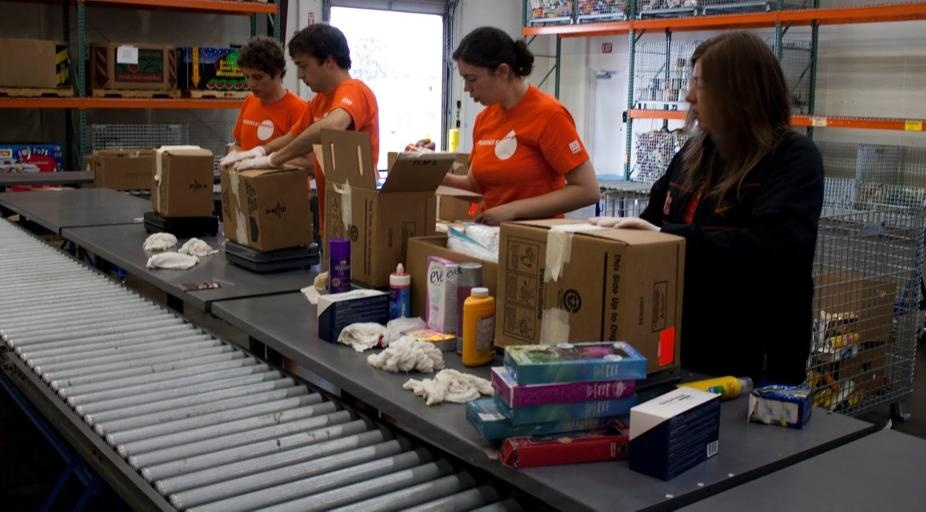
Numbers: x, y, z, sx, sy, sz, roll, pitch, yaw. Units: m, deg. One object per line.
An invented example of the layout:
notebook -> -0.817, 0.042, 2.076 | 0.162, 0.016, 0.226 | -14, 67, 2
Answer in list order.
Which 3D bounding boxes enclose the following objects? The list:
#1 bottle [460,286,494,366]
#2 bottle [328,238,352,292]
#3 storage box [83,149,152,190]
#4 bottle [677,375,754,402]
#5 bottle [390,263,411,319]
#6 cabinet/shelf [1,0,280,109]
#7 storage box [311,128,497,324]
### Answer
bottle -> 0.065, 0.291, 2.902 | 0.141, 0.309, 0.105 | -2, 15, 1
bottle -> -0.578, 0.046, 3.269 | 0.108, 0.238, 0.079 | -5, 15, -11
storage box -> -3.511, -0.805, 7.189 | 0.569, 0.340, 0.555 | -4, 8, -37
bottle -> 1.007, 0.514, 2.774 | 0.277, 0.080, 0.112 | -8, 16, -23
bottle -> -0.288, 0.162, 3.183 | 0.100, 0.227, 0.106 | -2, 15, 0
cabinet/shelf -> -3.461, -2.049, 7.257 | 1.936, 0.859, 0.320 | -2, 1, -22
storage box -> -0.371, -0.197, 3.764 | 0.795, 1.136, 1.289 | -5, 10, -36
